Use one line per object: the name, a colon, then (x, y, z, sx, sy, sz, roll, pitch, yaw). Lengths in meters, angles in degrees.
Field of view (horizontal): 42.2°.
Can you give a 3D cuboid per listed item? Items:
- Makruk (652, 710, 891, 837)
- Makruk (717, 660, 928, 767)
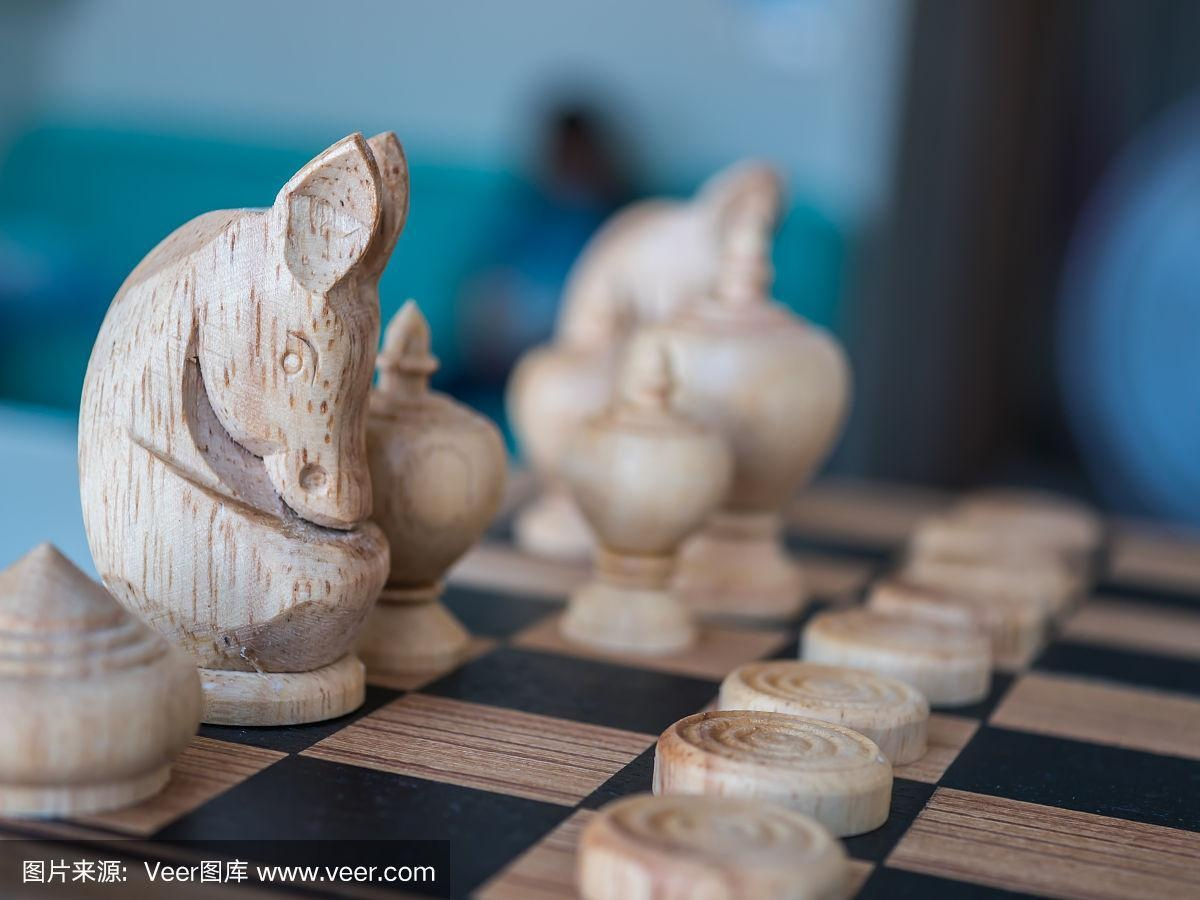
Makruk: (0.165, 0.299, 1.476, 0.139, 0.045, 0.136, 7, 8, 9)
Makruk: (0.242, 0.262, 1.623, 0.131, 0.038, 0.128, 7, 4, -13)
